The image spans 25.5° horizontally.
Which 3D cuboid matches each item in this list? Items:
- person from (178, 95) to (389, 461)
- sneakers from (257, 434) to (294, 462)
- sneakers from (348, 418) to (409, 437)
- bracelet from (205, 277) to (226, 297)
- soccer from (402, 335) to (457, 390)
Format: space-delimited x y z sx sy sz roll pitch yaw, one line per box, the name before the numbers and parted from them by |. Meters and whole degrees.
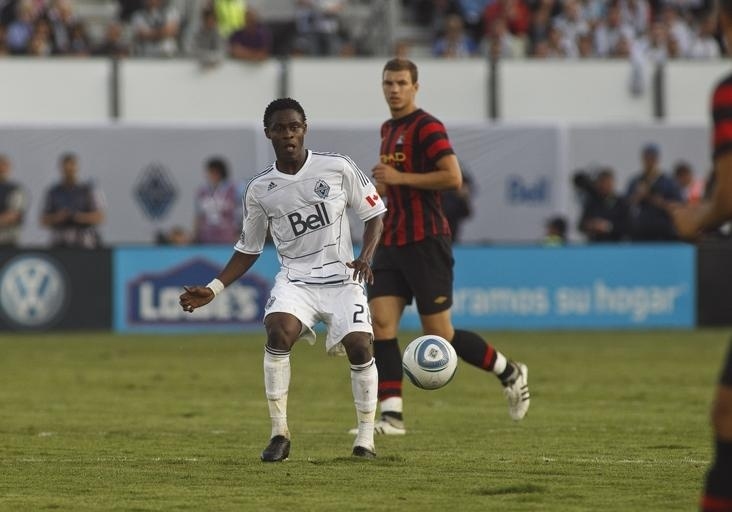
person | -0.545 0.208 13.792 1.401 3.039 0.732 0 10 0
sneakers | -0.742 1.650 13.755 0.147 0.127 0.280 10 10 7
sneakers | 0.119 1.564 14.562 0.517 0.216 0.186 5 -7 -15
bracelet | -1.301 0.303 13.892 0.149 0.116 0.149 -14 42 20
soccer | 0.584 0.957 14.474 0.512 0.541 0.539 1 12 23
